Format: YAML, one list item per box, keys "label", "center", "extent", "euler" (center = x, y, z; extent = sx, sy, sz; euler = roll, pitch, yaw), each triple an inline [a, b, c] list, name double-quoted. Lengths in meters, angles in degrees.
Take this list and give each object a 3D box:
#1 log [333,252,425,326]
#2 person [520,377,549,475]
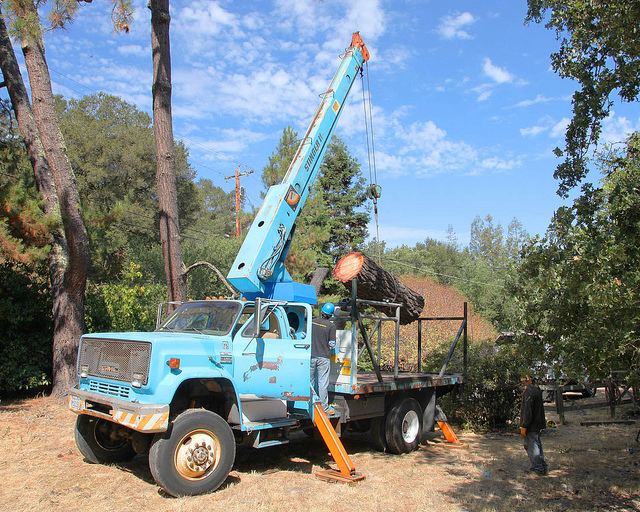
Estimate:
- label: "log"
  center: [1.676, 0.936, 13.503]
  extent: [0.957, 1.162, 3.008]
  euler: [-4, -29, 45]
- label: "person"
  center: [4.205, 3.286, 10.024]
  extent: [0.505, 1.765, 1.244]
  euler: [1, -4, 24]
